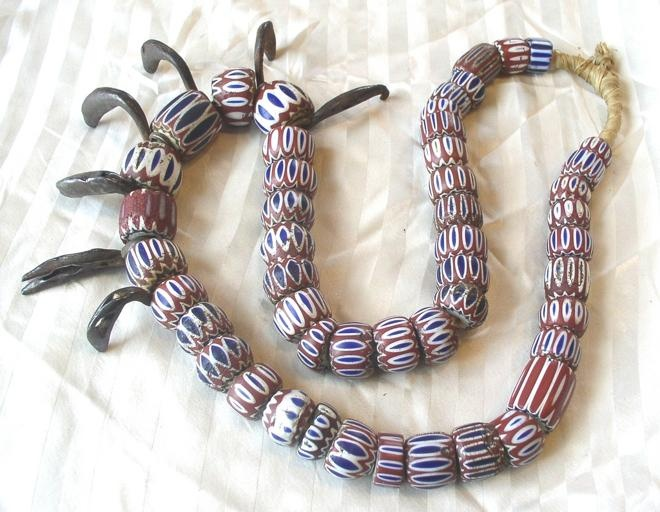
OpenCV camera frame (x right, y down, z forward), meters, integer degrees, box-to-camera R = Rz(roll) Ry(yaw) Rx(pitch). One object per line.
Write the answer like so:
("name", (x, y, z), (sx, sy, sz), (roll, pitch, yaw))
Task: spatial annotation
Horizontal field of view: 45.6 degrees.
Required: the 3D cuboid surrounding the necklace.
("necklace", (0.015, 0.111, 1.660), (0.749, 0.108, 0.833), (4, 69, -1))
